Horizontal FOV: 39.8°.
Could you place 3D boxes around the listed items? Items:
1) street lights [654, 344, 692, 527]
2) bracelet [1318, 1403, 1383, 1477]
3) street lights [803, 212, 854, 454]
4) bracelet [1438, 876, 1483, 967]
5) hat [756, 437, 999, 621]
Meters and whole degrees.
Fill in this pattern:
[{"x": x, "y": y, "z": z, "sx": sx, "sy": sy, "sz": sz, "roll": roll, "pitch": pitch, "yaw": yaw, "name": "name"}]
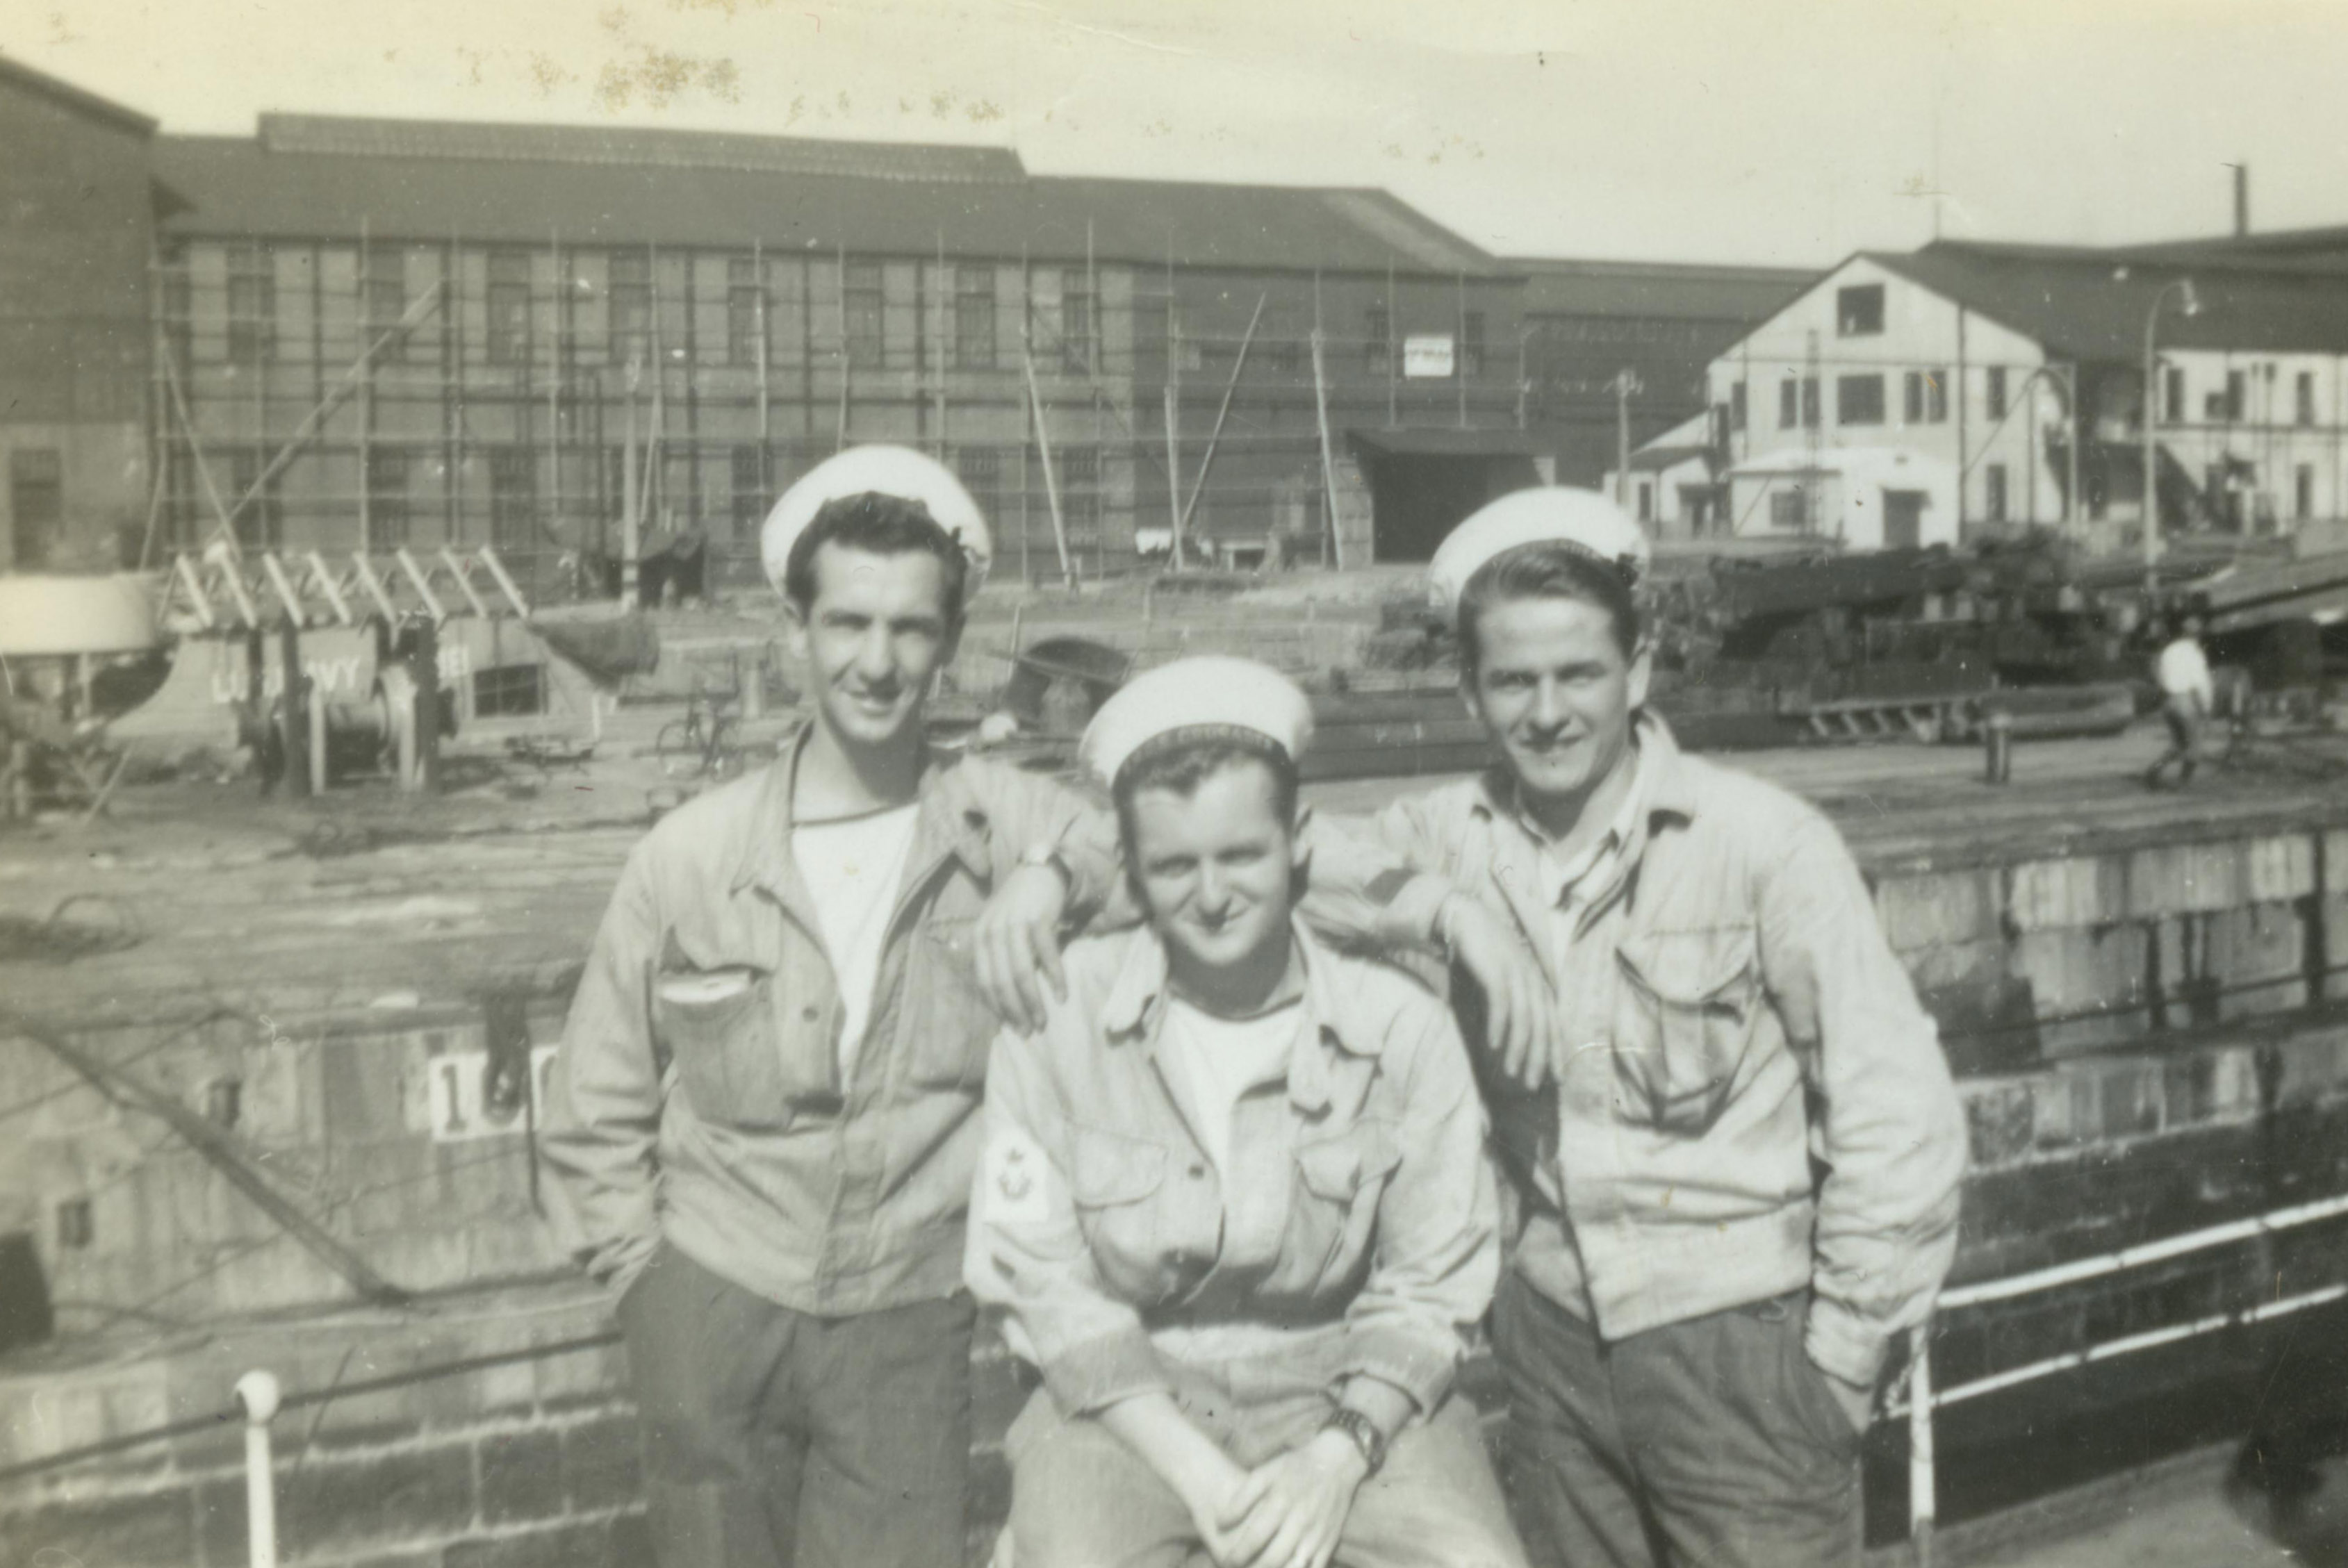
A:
[{"x": -1.770, "y": -1.253, "z": 11.497, "sx": 0.157, "sy": 0.559, "sz": 0.163, "roll": 5, "pitch": 0, "yaw": 3, "name": "street lights"}, {"x": 0.514, "y": 1.802, "z": 8.954, "sx": 0.138, "sy": 0.178, "sz": 0.076, "roll": 6, "pitch": -23, "yaw": -14, "name": "bracelet"}, {"x": -1.206, "y": -1.547, "z": 11.542, "sx": 0.101, "sy": 0.704, "sz": 0.088, "roll": -4, "pitch": 5, "yaw": -7, "name": "street lights"}, {"x": 0.809, "y": 0.397, "z": 9.254, "sx": 0.130, "sy": 0.186, "sz": 0.067, "roll": 3, "pitch": 1, "yaw": -20, "name": "bracelet"}, {"x": -0.943, "y": -0.761, "z": 9.775, "sx": 0.661, "sy": 0.752, "sz": 0.229, "roll": 2, "pitch": 1, "yaw": -4, "name": "hat"}]
